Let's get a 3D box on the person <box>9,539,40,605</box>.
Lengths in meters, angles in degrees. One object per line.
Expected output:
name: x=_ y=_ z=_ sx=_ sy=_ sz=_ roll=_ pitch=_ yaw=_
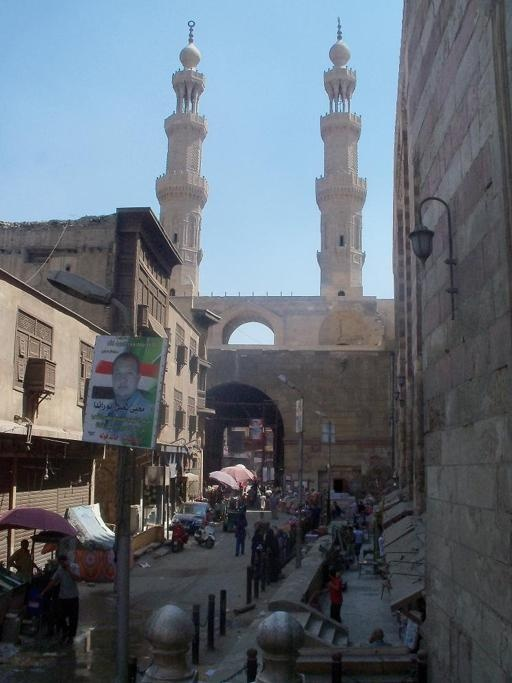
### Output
person: x=-3.922 y=3.802 z=11.926 sx=0.511 sy=0.876 sz=2.240 roll=3 pitch=-14 yaw=-18

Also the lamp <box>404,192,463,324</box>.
lamp: x=1.893 y=-0.920 z=7.669 sx=0.494 sy=1.467 sz=0.329 roll=0 pitch=-15 yaw=9

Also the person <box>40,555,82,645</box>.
person: x=-2.944 y=3.898 z=10.746 sx=0.458 sy=1.284 sz=0.476 roll=3 pitch=-13 yaw=-16

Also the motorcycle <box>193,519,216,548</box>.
motorcycle: x=-1.686 y=6.614 z=23.936 sx=0.497 sy=0.658 sz=0.968 roll=3 pitch=-7 yaw=-9

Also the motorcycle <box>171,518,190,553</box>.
motorcycle: x=-2.424 y=6.223 z=22.523 sx=0.551 sy=0.807 sz=1.304 roll=-1 pitch=-9 yaw=1
